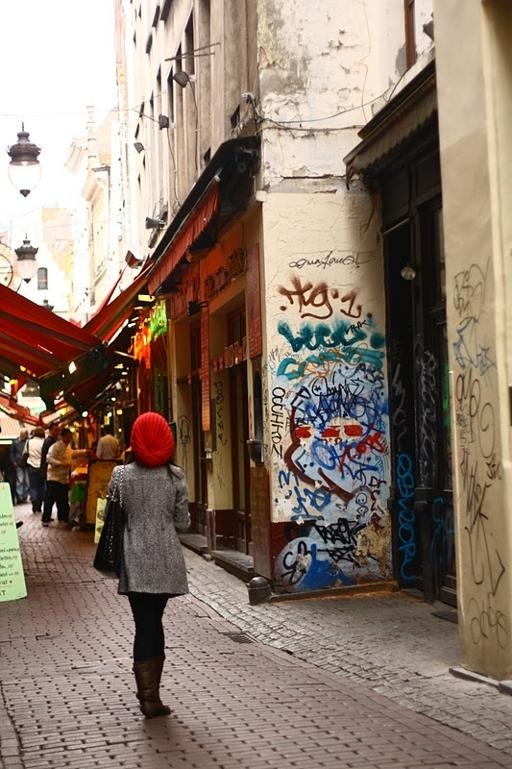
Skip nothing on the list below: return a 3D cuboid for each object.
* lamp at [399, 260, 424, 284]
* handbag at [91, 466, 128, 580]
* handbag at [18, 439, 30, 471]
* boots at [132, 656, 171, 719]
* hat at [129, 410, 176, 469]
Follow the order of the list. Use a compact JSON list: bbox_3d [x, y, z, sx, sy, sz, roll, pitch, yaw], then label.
[{"bbox_3d":[1.515,-1.108,7.201,0.137,0.203,0.246,0,-7,-7],"label":"lamp"},{"bbox_3d":[-0.759,0.736,3.893,0.144,0.584,0.213,8,-1,-25],"label":"handbag"},{"bbox_3d":[-7.364,2.204,23.208,0.328,1.119,0.706,7,-9,-17],"label":"handbag"},{"bbox_3d":[-0.519,1.517,3.678,0.186,0.262,0.268,2,-7,-22],"label":"boots"},{"bbox_3d":[-0.575,0.275,4.028,0.202,0.300,0.307,-3,12,-7],"label":"hat"}]
